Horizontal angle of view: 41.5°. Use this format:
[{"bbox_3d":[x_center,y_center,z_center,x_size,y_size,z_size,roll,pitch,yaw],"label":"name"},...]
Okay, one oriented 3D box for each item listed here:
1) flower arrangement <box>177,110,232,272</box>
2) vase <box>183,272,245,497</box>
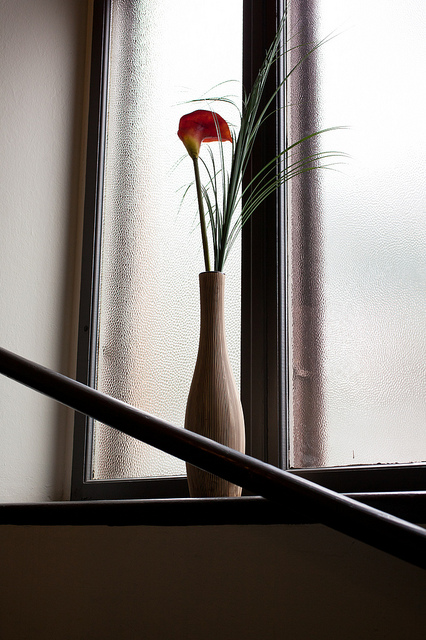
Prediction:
[{"bbox_3d":[-0.012,-0.229,1.072,0.103,0.305,0.165,2,-9,16],"label":"flower arrangement"},{"bbox_3d":[0.009,0.094,0.901,0.095,0.370,0.236,4,-9,3],"label":"vase"}]
